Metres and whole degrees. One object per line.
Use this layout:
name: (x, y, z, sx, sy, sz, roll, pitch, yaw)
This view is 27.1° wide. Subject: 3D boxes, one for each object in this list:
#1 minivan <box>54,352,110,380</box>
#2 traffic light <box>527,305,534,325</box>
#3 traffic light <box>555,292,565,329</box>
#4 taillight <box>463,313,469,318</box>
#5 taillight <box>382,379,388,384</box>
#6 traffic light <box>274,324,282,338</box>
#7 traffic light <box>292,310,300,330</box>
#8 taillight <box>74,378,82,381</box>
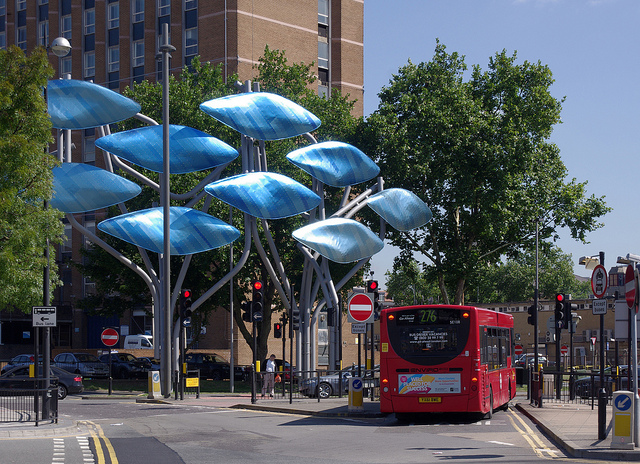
minivan: (-14.203, 7.561, 80.485, 2.901, 2.467, 3.212, -3, -9, 15)
traffic light: (11.310, 4.409, 70.186, 0.316, 0.973, 1.136, -2, -10, 9)
traffic light: (11.850, 3.824, 64.769, 0.491, 1.755, 1.160, -2, -9, 10)
taillight: (6.040, 3.402, 54.084, 0.185, 0.124, 0.195, -1, -3, -1)
taillight: (2.736, 6.128, 54.403, 0.182, 0.191, 0.050, 17, -4, 6)
traffic light: (-2.076, 4.963, 66.571, 0.490, 0.953, 0.553, -1, -5, 3)
traffic light: (-1.235, 4.577, 69.131, 0.298, 0.956, 0.955, 0, -4, -2)
taillight: (-12.336, 7.481, 67.357, 0.134, 0.154, 0.517, -4, -11, 24)
